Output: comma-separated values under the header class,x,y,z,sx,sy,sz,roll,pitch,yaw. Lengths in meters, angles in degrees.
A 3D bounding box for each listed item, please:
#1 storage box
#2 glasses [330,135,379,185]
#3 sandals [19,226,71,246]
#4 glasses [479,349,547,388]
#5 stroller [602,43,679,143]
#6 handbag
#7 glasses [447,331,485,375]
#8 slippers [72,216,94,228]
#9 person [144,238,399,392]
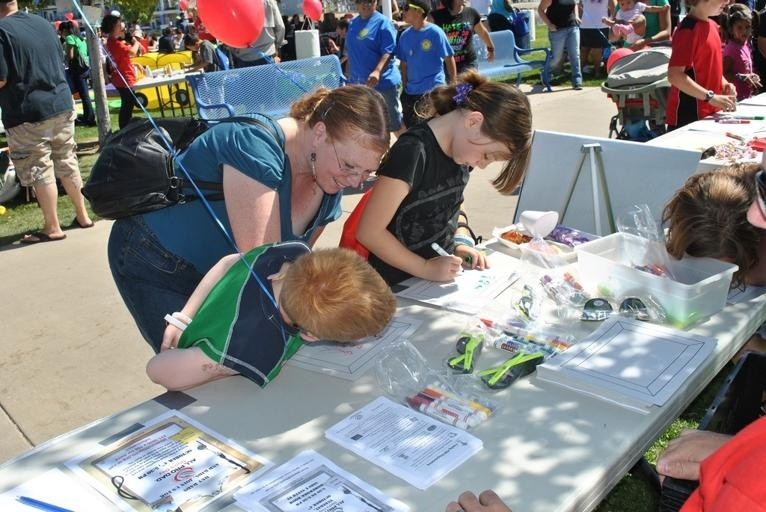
class,x,y,z,sx,sy,sz,roll,pitch,yaw
storage box,1.190,0.085,2.496,0.410,0.219,0.607,-20,29,-37
glasses,-0.133,-0.398,2.379,0.172,0.054,0.174,7,41,-54
sandals,-3.534,-0.210,5.762,0.426,0.107,0.188,1,-2,-19
glasses,0.504,0.422,2.115,0.231,0.062,0.111,-21,31,-24
stroller,2.792,-1.822,6.383,0.776,1.056,1.111,7,18,38
handbag,-1.041,-0.401,2.444,0.506,0.396,0.346,-1,22,12
glasses,0.329,0.373,2.195,0.097,0.043,0.164,4,34,18
slippers,-3.364,-0.389,6.134,0.297,0.116,0.115,5,11,17
person,-0.429,0.218,2.159,0.950,0.463,0.388,-5,22,1
